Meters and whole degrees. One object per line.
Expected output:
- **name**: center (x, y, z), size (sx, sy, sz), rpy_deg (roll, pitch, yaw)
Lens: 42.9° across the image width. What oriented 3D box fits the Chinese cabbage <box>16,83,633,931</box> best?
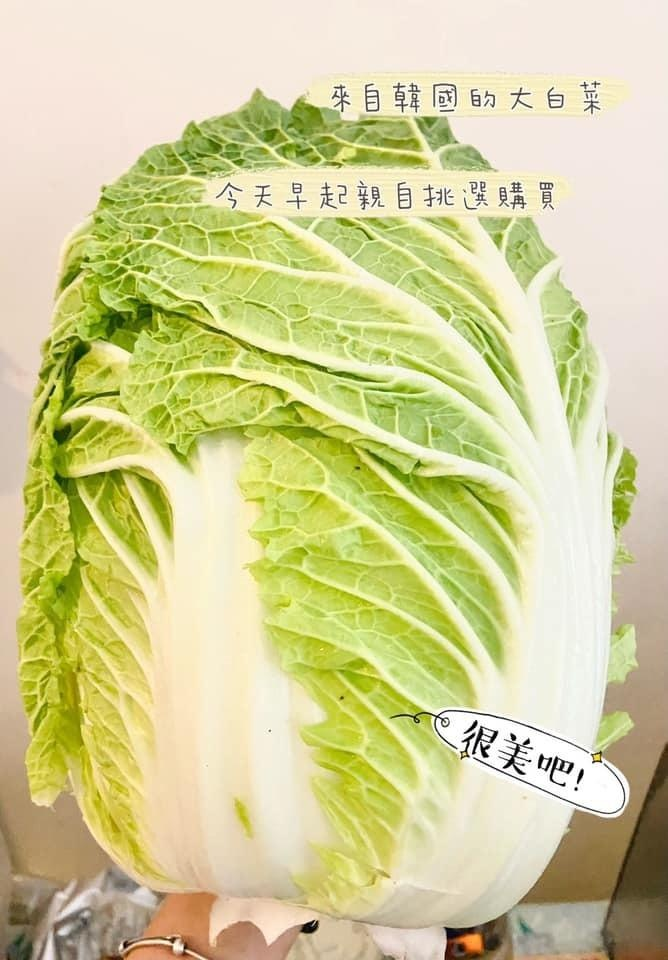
- **Chinese cabbage**: center (-0.041, 0.060, 1.262), size (0.820, 1.021, 0.440), rpy_deg (6, -1, -2)
